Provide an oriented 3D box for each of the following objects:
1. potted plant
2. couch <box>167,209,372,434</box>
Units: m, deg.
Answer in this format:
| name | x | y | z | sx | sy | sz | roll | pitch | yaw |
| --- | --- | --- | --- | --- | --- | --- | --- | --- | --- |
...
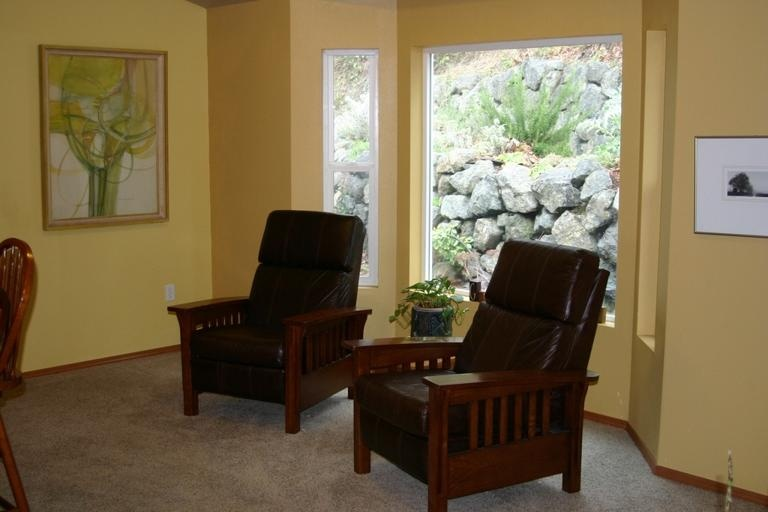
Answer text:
| name | x | y | z | sx | sy | sz | roll | pitch | yaw |
| --- | --- | --- | --- | --- | --- | --- | --- | --- | --- |
| potted plant | 0.429 | 0.435 | 4.592 | 0.548 | 0.460 | 0.654 | 8 | -8 | -43 |
| couch | -0.782 | 0.405 | 4.412 | 1.125 | 1.358 | 1.260 | 3 | 6 | 17 |
